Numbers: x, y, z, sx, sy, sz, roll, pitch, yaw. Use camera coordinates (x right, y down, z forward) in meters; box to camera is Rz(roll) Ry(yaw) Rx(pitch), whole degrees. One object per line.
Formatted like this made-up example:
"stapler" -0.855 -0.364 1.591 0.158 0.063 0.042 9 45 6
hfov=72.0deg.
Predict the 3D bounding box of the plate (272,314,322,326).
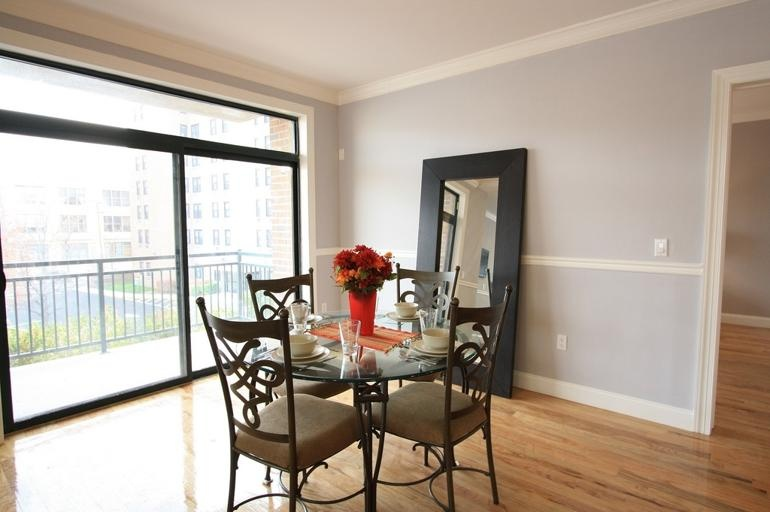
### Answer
"plate" -0.660 0.474 3.935 0.179 0.028 0.176 0 2 -43

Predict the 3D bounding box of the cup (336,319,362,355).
"cup" -0.216 0.564 3.806 0.230 0.273 0.234 2 4 0

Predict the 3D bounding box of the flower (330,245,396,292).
"flower" -0.159 0.090 4.165 0.395 0.330 0.396 10 14 32
